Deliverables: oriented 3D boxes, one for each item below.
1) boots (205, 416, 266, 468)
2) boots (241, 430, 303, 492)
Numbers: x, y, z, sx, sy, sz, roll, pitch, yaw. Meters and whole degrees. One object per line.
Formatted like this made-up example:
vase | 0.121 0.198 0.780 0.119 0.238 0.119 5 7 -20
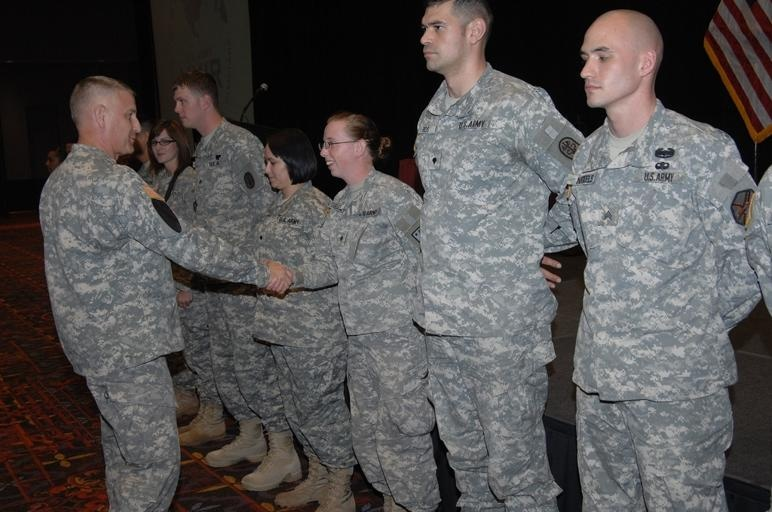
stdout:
boots | -0.964 1.164 4.412 0.416 0.239 0.145 0 -6 -38
boots | -0.707 1.186 4.170 0.177 0.314 0.407 -10 -5 42
